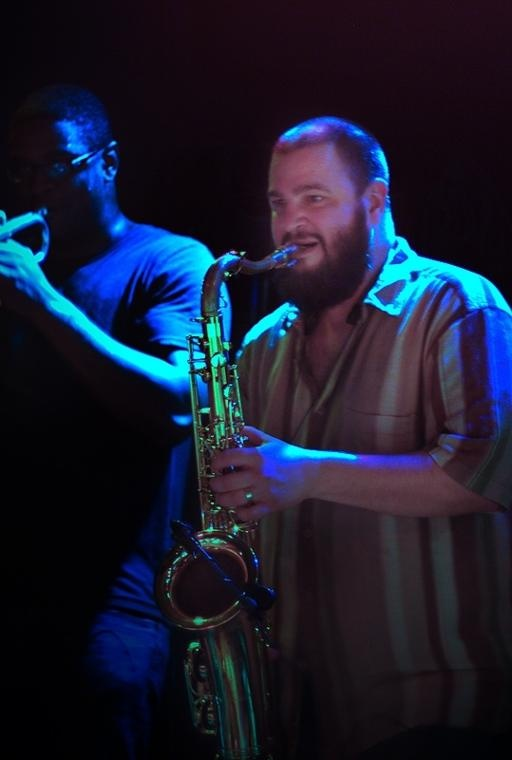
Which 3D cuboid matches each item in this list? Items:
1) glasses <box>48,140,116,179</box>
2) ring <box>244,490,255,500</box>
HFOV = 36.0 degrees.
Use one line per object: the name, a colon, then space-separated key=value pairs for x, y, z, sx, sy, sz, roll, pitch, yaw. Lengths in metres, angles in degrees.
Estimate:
glasses: x=-0.501 y=-0.622 z=2.258 sx=0.127 sy=0.039 sz=0.133 roll=-19 pitch=13 yaw=44
ring: x=-0.016 y=0.257 z=1.750 sx=0.021 sy=0.021 sz=0.014 roll=1 pitch=9 yaw=10
